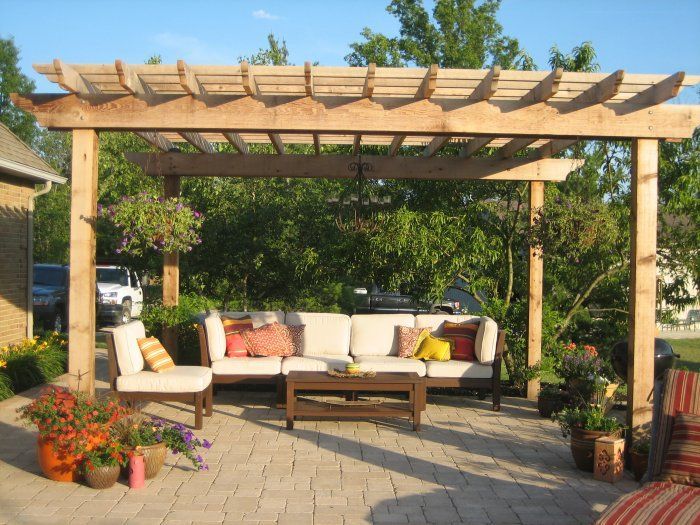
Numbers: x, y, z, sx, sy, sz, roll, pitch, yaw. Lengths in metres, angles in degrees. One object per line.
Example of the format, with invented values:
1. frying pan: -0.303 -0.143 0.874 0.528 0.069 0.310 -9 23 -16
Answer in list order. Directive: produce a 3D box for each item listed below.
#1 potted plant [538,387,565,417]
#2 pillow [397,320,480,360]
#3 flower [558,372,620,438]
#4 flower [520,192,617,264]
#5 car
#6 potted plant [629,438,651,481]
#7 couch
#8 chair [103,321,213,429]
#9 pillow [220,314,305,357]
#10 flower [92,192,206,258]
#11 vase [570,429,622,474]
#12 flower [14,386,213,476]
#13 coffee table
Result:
1. potted plant: 2.858 1.968 10.716 0.418 0.456 0.466 -1 -2 14
2. pillow: 1.302 1.189 11.284 0.579 0.590 1.064 2 1 -39
3. flower: 2.967 1.813 9.278 0.619 0.976 0.731 2 1 -7
4. flower: 3.225 -0.461 10.958 1.232 0.904 0.735 4 10 15
5. car: -6.249 0.733 15.830 1.334 1.580 3.450 0 -1 -3
6. potted plant: 3.311 2.339 8.602 0.243 0.294 0.269 10 -11 -13
7. couch: -0.023 1.538 12.288 3.700 1.542 2.129 6 1 -3
8. chair: -2.517 1.477 10.092 1.238 1.489 1.101 0 2 0
9. pillow: -1.357 1.020 11.348 0.782 0.732 0.844 1 -1 -41
10. flower: -2.600 -0.504 9.949 1.196 0.806 0.526 -2 10 -20
11. vase: 2.814 2.156 8.669 0.458 0.398 0.500 2 -8 -4
12. flower: -2.723 1.919 8.246 1.803 0.887 0.553 0 9 -6
13. coffee table: 0.035 2.043 10.055 2.391 1.027 1.266 1 0 -4
